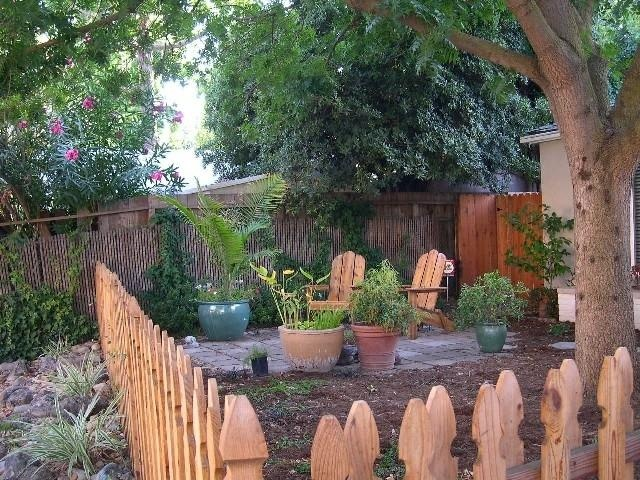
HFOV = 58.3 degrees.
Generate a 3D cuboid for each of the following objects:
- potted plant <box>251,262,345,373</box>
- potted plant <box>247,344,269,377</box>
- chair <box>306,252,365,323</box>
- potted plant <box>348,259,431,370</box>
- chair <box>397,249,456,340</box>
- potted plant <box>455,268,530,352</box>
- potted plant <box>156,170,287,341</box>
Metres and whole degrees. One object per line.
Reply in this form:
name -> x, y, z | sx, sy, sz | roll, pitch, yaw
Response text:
potted plant -> -0.031, 0.866, 6.726 | 1.260, 1.550, 1.040 | 1, 1, -25
potted plant -> -0.659, 1.290, 6.177 | 0.237, 0.328, 0.238 | 0, -2, -14
chair -> 0.324, 0.541, 8.069 | 0.653, 1.092, 1.011 | 3, -16, 8
potted plant -> 0.656, 0.851, 6.466 | 0.654, 1.142, 0.940 | 3, -8, -11
chair -> 1.437, 0.753, 8.369 | 0.898, 1.239, 0.871 | -1, -1, -20
potted plant -> 2.302, 0.865, 7.352 | 0.785, 0.968, 1.419 | -2, 0, 36
potted plant -> -1.294, 0.221, 8.504 | 1.218, 1.898, 2.183 | -1, 0, 18
